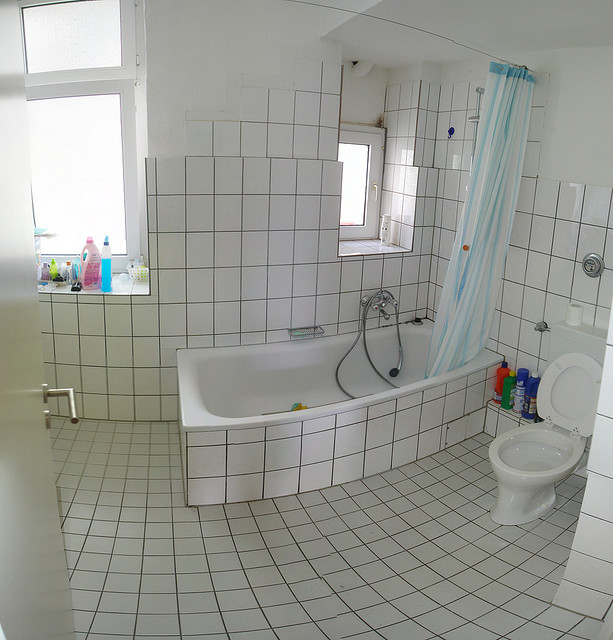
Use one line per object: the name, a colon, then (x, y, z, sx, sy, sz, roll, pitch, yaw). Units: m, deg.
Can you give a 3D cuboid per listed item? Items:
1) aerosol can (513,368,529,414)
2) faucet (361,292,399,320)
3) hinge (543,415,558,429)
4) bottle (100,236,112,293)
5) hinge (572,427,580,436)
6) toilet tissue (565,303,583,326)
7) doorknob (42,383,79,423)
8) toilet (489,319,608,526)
aerosol can: (1.193, 0.410, 2.953, 0.076, 0.264, 0.080, 5, 1, 0)
faucet: (0.478, -0.074, 3.300, 0.155, 0.199, 0.263, 3, 16, 7)
hinge: (1.202, 0.506, 2.629, 0.038, 0.057, 0.019, 23, 22, 33)
bottle: (-1.059, -0.287, 2.797, 0.063, 0.267, 0.125, -5, 17, -20)
hinge: (1.285, 0.523, 2.533, 0.007, 0.032, 0.030, 12, -30, -20)
toilet tissue: (1.319, -0.027, 2.616, 0.088, 0.109, 0.093, 5, 7, 12)
doorknob: (-0.501, 0.169, 1.092, 0.057, 0.096, 0.026, -3, 27, -16)
toilet: (1.128, 0.474, 2.495, 0.355, 0.796, 0.717, 14, 21, 40)
